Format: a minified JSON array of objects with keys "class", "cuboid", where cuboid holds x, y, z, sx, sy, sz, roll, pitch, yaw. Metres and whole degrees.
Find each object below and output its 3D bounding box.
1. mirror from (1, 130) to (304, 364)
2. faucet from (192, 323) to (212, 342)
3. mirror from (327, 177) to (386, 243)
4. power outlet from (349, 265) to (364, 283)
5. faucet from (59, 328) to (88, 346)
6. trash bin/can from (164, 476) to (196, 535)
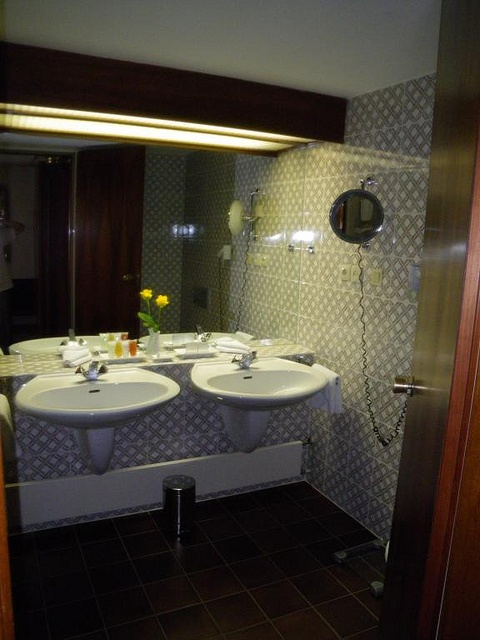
[{"class":"mirror","cuboid":[-0.516,-0.418,2.515,1.211,1.239,0.131,-2,11,-21]},{"class":"faucet","cuboid":[-0.220,0.072,2.727,0.070,0.101,0.038,2,-16,-45]},{"class":"mirror","cuboid":[0.590,-0.534,2.430,0.049,0.266,0.313,-2,8,-36]},{"class":"power outlet","cuboid":[0.612,-0.248,2.492,0.012,0.115,0.084,-4,9,-27]},{"class":"faucet","cuboid":[-0.868,0.077,2.470,0.079,0.104,0.111,1,13,-28]},{"class":"trash bin/can","cuboid":[-0.320,0.971,2.441,0.159,0.251,0.129,1,6,-10]}]
